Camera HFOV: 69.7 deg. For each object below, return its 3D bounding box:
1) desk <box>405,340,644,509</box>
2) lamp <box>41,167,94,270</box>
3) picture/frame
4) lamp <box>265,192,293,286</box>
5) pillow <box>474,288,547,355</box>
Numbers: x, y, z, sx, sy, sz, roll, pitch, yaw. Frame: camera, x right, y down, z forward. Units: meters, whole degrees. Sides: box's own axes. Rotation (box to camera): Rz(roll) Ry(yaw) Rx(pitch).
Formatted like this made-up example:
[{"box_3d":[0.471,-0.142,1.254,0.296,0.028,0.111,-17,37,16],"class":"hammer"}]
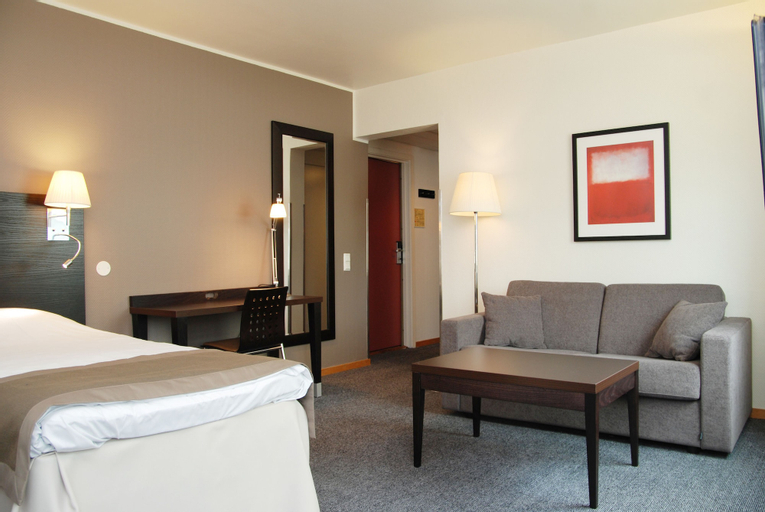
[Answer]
[{"box_3d":[0.974,1.044,3.720,1.368,0.721,0.894,2,6,27],"class":"desk"},{"box_3d":[-2.393,-0.279,4.185,0.322,0.749,0.361,-4,6,-28],"class":"lamp"},{"box_3d":[2.079,-0.633,4.697,1.069,1.363,0.051,-1,-2,24],"class":"picture/frame"},{"box_3d":[-1.023,-0.168,5.409,0.193,0.904,0.397,-2,6,-10],"class":"lamp"},{"box_3d":[1.076,0.558,4.561,0.466,0.453,0.165,0,-26,4],"class":"pillow"}]
